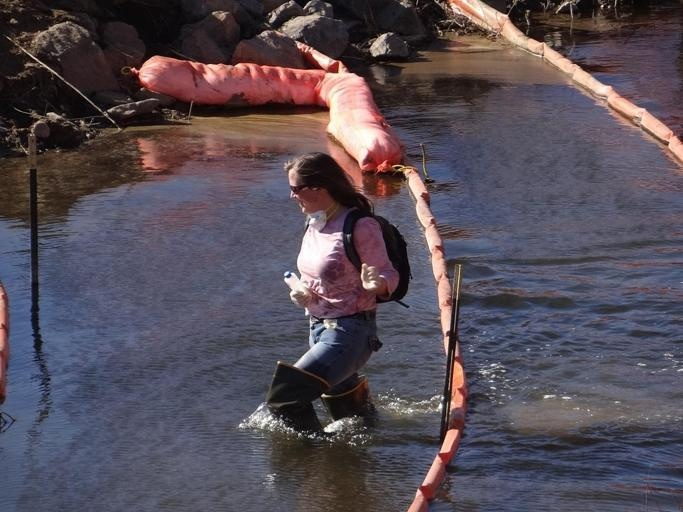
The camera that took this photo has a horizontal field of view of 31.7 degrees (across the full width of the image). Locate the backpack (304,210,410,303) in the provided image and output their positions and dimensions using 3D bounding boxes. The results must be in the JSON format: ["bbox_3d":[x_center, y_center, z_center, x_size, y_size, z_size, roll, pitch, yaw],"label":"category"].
[{"bbox_3d":[0.358,0.047,10.542,0.546,0.926,0.624,-24,35,-22],"label":"backpack"}]

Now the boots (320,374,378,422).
[{"bbox_3d":[0.005,1.296,10.992,0.612,0.337,0.427,-18,-1,-19],"label":"boots"}]

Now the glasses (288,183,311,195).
[{"bbox_3d":[-0.388,-0.582,10.523,0.213,0.094,0.073,16,37,38],"label":"glasses"}]
